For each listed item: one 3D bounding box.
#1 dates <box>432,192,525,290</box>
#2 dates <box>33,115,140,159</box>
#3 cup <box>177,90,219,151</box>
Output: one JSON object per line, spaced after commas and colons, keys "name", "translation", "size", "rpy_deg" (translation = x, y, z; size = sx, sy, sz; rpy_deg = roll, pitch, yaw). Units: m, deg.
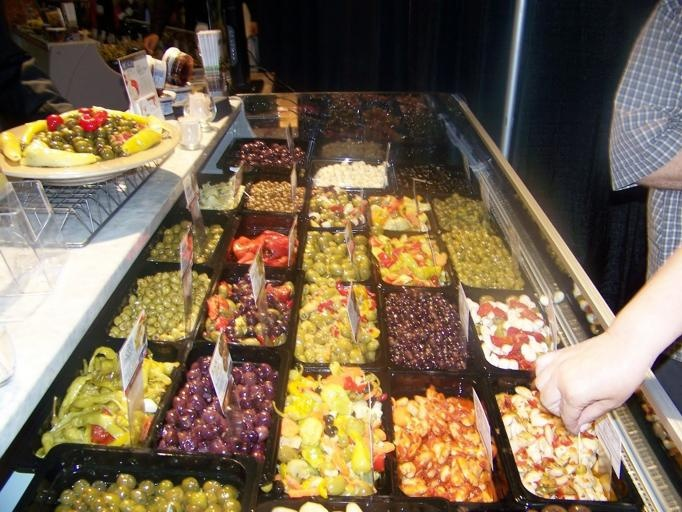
{"name": "dates", "translation": [0.754, -0.116, 2.594], "size": [0.301, 0.140, 0.861], "rpy_deg": [-1, 37, -1]}
{"name": "dates", "translation": [-1.087, -0.497, 1.934], "size": [0.236, 0.147, 0.254], "rpy_deg": [4, 29, 17]}
{"name": "cup", "translation": [-0.872, -0.833, 2.771], "size": [0.194, 0.206, 0.532], "rpy_deg": [-7, 38, -9]}
